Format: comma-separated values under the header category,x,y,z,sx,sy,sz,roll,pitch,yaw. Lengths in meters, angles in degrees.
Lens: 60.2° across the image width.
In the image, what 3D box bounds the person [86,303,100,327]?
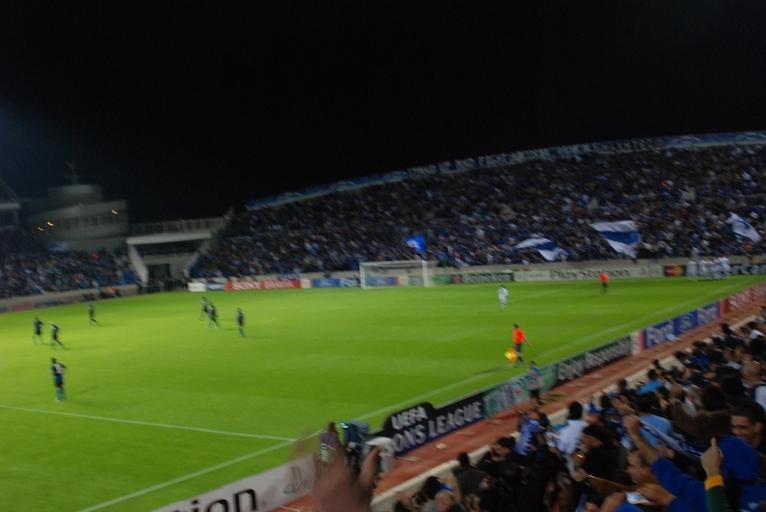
category,x,y,z,sx,sy,sz,roll,pitch,yaw
person,-19.172,3.948,44.003,0.895,1.188,0.923,17,24,33
